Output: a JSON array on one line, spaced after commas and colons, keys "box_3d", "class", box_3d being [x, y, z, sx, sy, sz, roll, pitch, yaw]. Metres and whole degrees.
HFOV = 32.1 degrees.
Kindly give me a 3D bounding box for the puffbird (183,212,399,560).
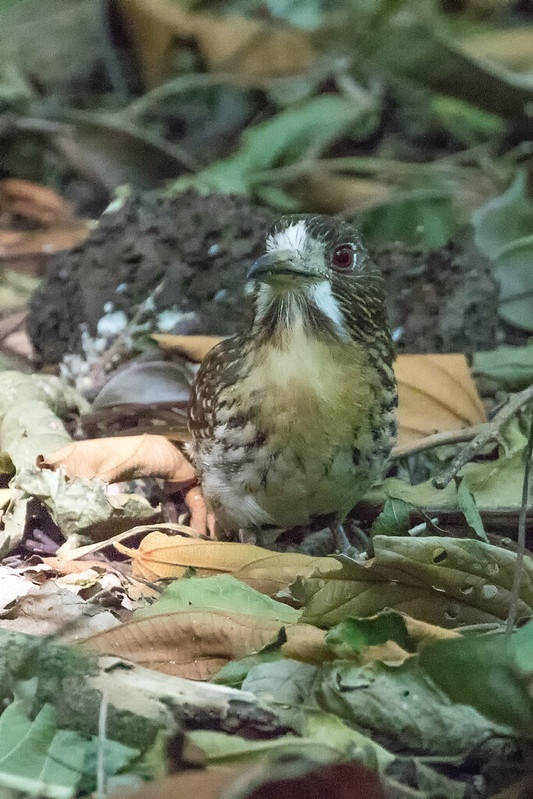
[{"box_3d": [0.035, -0.036, 1.733, 0.437, 0.607, 0.332, -10, 29, 8], "class": "puffbird"}]
